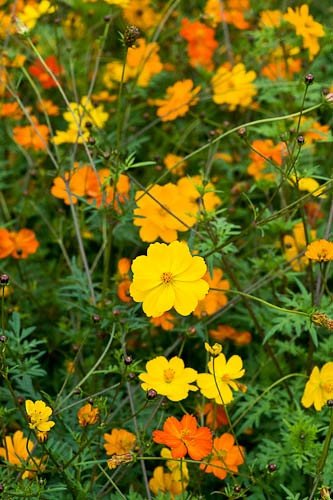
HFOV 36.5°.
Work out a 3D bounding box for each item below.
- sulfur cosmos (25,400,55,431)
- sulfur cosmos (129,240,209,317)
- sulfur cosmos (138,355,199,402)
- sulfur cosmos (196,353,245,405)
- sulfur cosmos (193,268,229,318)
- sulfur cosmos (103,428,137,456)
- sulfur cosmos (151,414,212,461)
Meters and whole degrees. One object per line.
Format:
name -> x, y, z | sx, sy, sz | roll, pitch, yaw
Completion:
sulfur cosmos -> -0.236, 0.296, 0.894 | 0.065, 0.024, 0.063 | 9, 13, 2
sulfur cosmos -> 0.006, 0.056, 0.983 | 0.152, 0.151, 0.046 | 9, -12, 2
sulfur cosmos -> 0.007, 0.245, 0.962 | 0.107, 0.036, 0.105 | 4, -4, 24
sulfur cosmos -> 0.108, 0.250, 0.977 | 0.072, 0.098, 0.124 | 4, -12, 21
sulfur cosmos -> 0.107, 0.112, 1.389 | 0.126, 0.121, 0.036 | -28, -47, -2
sulfur cosmos -> -0.100, 0.411, 1.086 | 0.069, 0.051, 0.026 | 9, -12, -2
sulfur cosmos -> 0.029, 0.338, 0.907 | 0.104, 0.088, 0.125 | 8, -12, 3
